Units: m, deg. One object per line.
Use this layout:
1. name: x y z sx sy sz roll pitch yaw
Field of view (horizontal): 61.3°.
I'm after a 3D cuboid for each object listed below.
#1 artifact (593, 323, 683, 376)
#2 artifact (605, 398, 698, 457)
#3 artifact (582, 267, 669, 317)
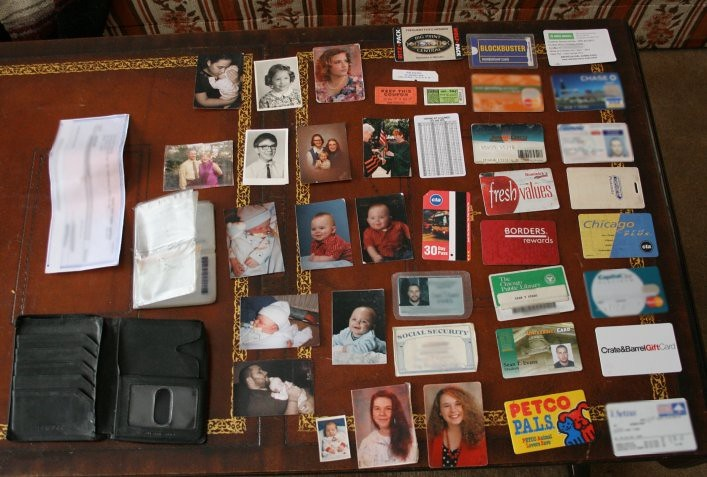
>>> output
1. artifact: 1.327 0.521 2.790 0.368 0.059 0.224 -5 68 0
2. artifact: 1.353 0.862 2.723 0.381 0.055 0.228 -5 68 1
3. artifact: 1.297 0.256 2.846 0.369 0.058 0.216 -5 68 0
